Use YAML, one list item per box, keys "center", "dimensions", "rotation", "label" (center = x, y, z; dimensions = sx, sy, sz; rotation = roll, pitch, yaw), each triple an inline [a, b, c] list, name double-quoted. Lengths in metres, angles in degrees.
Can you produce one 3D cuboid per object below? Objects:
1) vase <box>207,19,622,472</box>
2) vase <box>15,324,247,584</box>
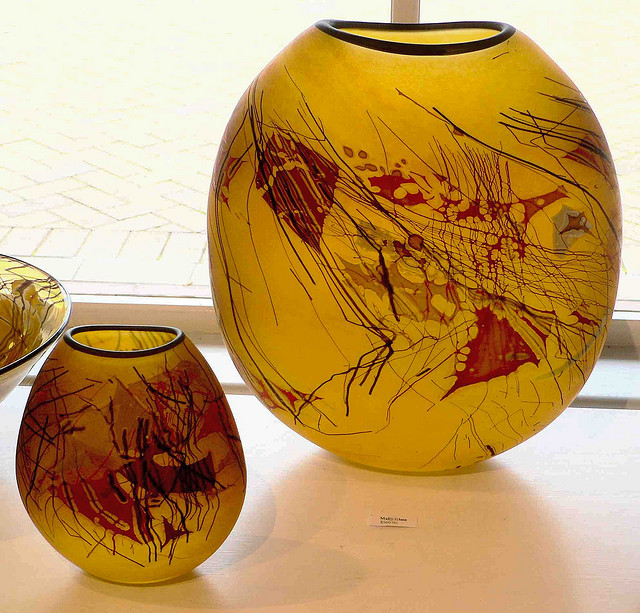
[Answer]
- center: [0.076, -0.038, 0.577]
  dimensions: [0.348, 0.370, 0.203]
  rotation: [0, 32, 0]
  label: "vase"
- center: [-0.143, 0.103, 0.517]
  dimensions: [0.151, 0.153, 0.156]
  rotation: [12, 23, 37]
  label: "vase"
